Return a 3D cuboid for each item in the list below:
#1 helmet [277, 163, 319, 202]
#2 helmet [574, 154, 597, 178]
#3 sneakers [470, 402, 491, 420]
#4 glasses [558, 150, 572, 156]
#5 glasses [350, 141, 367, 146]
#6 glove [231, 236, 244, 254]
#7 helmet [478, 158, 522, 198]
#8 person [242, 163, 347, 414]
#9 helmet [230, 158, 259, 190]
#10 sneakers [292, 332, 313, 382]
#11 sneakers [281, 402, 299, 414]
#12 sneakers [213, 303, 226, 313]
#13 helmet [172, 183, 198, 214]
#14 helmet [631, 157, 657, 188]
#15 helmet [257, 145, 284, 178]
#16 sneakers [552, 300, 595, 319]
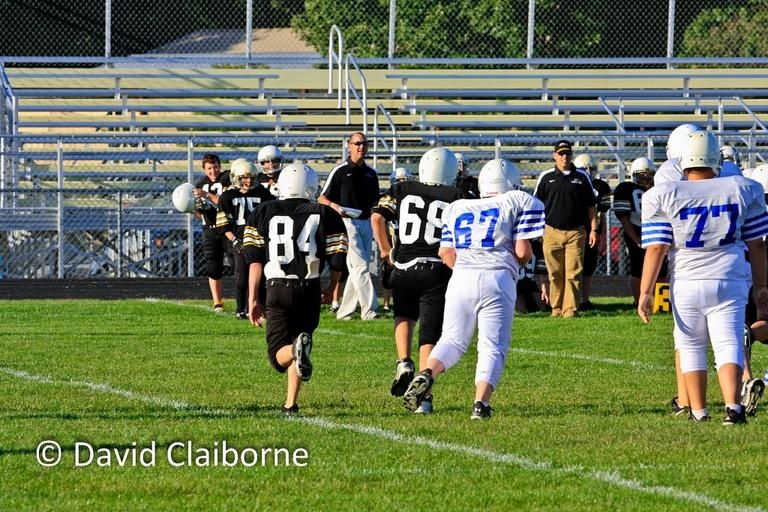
[{"bbox_3d":[-1.069,-0.951,17.737,0.433,0.402,0.514,4,21,5],"label":"helmet"},{"bbox_3d":[3.317,-1.532,23.363,0.370,0.402,0.437,-11,-13,-6],"label":"helmet"},{"bbox_3d":[1.180,1.840,17.274,0.255,0.204,0.334,0,12,4],"label":"sneakers"},{"bbox_3d":[2.797,-1.609,22.034,0.147,0.093,0.227,6,-6,4],"label":"glasses"},{"bbox_3d":[-0.384,-1.721,21.528,0.247,0.084,0.160,-3,13,-11],"label":"glasses"},{"bbox_3d":[-2.285,-0.164,21.972,0.224,0.267,0.114,-1,14,24],"label":"glove"},{"bbox_3d":[1.440,-0.902,18.018,0.497,0.497,0.629,5,34,22],"label":"helmet"},{"bbox_3d":[-1.185,0.350,17.683,1.161,2.947,1.083,7,16,32],"label":"person"},{"bbox_3d":[-2.187,-1.276,21.747,0.388,0.427,0.503,4,-3,-28],"label":"helmet"},{"bbox_3d":[-0.994,1.228,17.351,0.228,0.551,0.264,-7,11,-13],"label":"sneakers"},{"bbox_3d":[-1.145,1.869,17.453,0.226,0.129,0.115,4,-2,8],"label":"sneakers"},{"bbox_3d":[-2.709,0.828,23.266,0.184,0.144,0.393,-3,12,-7],"label":"sneakers"},{"bbox_3d":[-3.380,-0.967,24.207,0.521,0.568,0.535,2,17,6],"label":"helmet"},{"bbox_3d":[4.314,-1.369,23.316,0.467,0.497,0.517,1,-4,-12],"label":"helmet"},{"bbox_3d":[-1.694,-1.441,21.278,0.416,0.412,0.531,-2,2,-5],"label":"helmet"},{"bbox_3d":[3.082,0.858,22.746,0.519,0.126,0.293,-9,5,-19],"label":"sneakers"}]
